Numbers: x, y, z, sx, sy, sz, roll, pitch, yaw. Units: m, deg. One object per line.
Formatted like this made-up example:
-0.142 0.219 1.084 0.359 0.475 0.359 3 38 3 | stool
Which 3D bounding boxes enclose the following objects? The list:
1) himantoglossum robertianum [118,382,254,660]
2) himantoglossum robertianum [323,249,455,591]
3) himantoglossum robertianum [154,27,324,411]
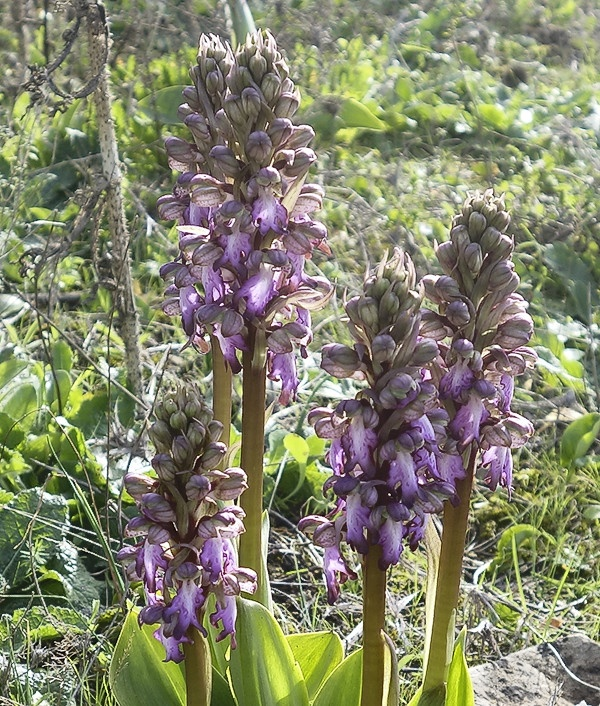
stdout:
-0.217 0.332 1.424 0.251 0.550 0.261 10 9 22 | himantoglossum robertianum
0.154 0.169 1.395 0.271 0.724 0.243 7 8 1 | himantoglossum robertianum
-0.127 -0.319 1.751 0.381 0.914 0.467 3 9 -26 | himantoglossum robertianum
